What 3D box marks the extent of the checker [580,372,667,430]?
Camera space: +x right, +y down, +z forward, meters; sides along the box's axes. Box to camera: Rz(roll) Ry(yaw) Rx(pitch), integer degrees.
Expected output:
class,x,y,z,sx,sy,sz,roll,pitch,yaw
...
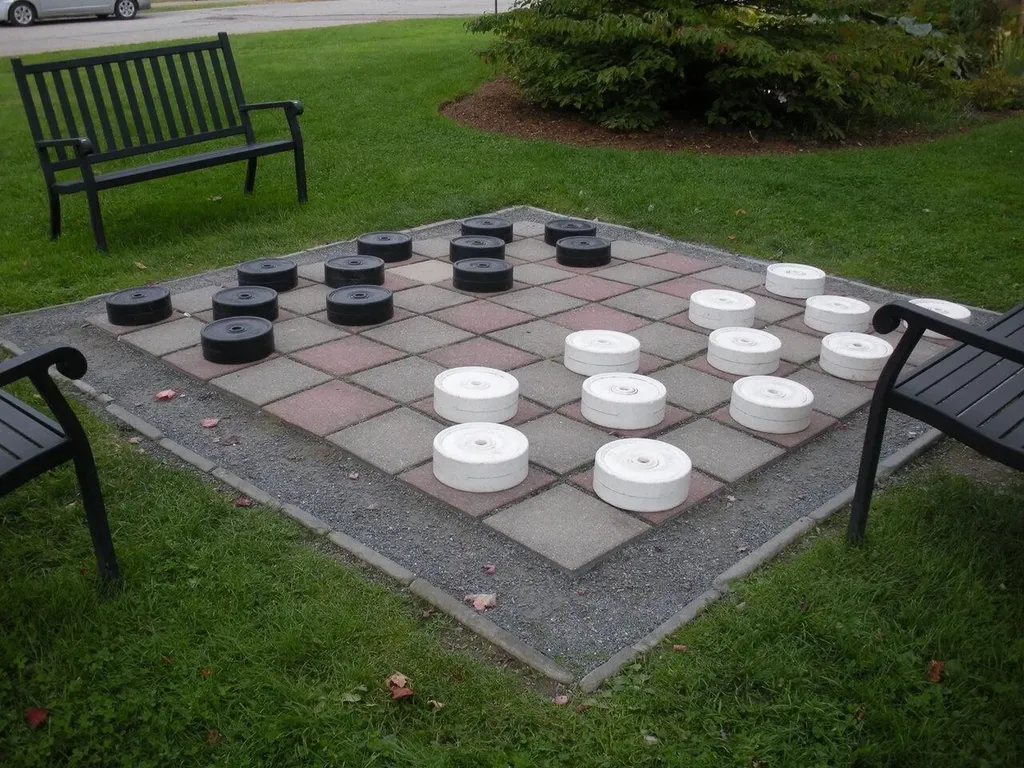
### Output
class,x,y,z,sx,sy,sz,roll,pitch,yaw
checker,0.667,0.090,4.846,0.502,0.182,0.492,3,29,3

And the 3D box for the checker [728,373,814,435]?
class,x,y,z,sx,sy,sz,roll,pitch,yaw
checker,1.556,0.118,4.844,0.491,0.180,0.481,11,31,17

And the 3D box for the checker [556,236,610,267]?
class,x,y,z,sx,sy,sz,roll,pitch,yaw
checker,0.572,-1.168,7.063,0.401,0.108,0.369,-16,27,-33

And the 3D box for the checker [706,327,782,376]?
class,x,y,z,sx,sy,sz,roll,pitch,yaw
checker,1.526,-0.223,5.443,0.477,0.127,0.372,1,25,1

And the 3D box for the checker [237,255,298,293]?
class,x,y,z,sx,sy,sz,roll,pitch,yaw
checker,-1.917,-0.890,6.422,0.420,0.113,0.339,11,25,12

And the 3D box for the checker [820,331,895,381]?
class,x,y,z,sx,sy,sz,roll,pitch,yaw
checker,2.301,-0.206,5.427,0.561,0.132,0.474,17,42,21

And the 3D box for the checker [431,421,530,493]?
class,x,y,z,sx,sy,sz,roll,pitch,yaw
checker,-0.169,0.364,4.335,0.541,0.143,0.440,11,34,15

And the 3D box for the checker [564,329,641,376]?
class,x,y,z,sx,sy,sz,roll,pitch,yaw
checker,0.595,-0.208,5.368,0.492,0.179,0.460,3,30,2

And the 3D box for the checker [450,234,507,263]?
class,x,y,z,sx,sy,sz,roll,pitch,yaw
checker,-0.298,-1.154,6.887,0.425,0.106,0.335,0,21,-1

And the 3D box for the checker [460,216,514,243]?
class,x,y,z,sx,sy,sz,roll,pitch,yaw
checker,-0.235,-1.410,7.388,0.526,0.132,0.413,0,22,-2

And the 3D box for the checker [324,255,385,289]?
class,x,y,z,sx,sy,sz,roll,pitch,yaw
checker,-1.262,-0.899,6.449,0.417,0.112,0.327,0,23,-4

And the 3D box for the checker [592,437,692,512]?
class,x,y,z,sx,sy,sz,roll,pitch,yaw
checker,0.673,0.470,4.222,0.491,0.176,0.490,5,29,6

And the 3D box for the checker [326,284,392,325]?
class,x,y,z,sx,sy,sz,roll,pitch,yaw
checker,-1.150,-0.581,5.919,0.405,0.119,0.386,18,28,33
